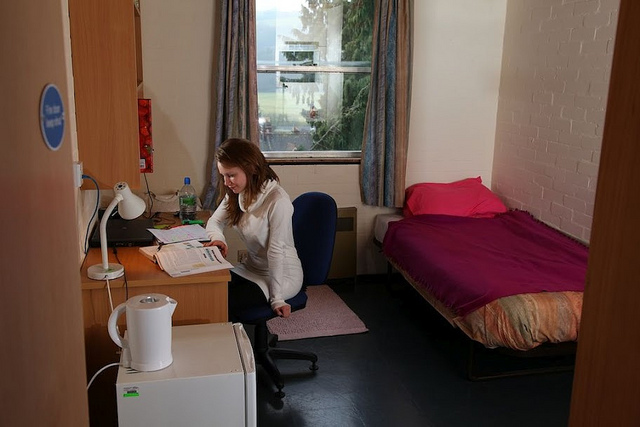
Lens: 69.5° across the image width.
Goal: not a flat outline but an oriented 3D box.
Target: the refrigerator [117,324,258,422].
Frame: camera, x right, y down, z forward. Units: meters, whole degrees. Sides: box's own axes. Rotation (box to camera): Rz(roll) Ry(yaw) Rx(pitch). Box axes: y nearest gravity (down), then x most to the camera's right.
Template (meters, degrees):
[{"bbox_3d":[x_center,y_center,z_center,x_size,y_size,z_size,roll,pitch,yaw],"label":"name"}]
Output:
[{"bbox_3d":[-0.533,0.625,1.920,0.433,0.291,0.435,0,11,-10],"label":"refrigerator"}]

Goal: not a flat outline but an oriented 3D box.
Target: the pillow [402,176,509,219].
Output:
[{"bbox_3d":[1.192,-0.127,4.127,0.503,0.156,0.510,-5,24,-13],"label":"pillow"}]

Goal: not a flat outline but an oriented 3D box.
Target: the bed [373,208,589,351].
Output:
[{"bbox_3d":[1.370,0.363,3.529,1.463,0.410,1.825,-3,17,-10],"label":"bed"}]

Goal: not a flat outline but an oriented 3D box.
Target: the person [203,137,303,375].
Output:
[{"bbox_3d":[-0.424,0.296,2.855,0.709,1.466,0.586,-3,7,-38],"label":"person"}]

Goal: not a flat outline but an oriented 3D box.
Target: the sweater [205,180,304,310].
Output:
[{"bbox_3d":[-0.342,0.172,2.762,0.414,0.700,0.411,-1,17,12],"label":"sweater"}]

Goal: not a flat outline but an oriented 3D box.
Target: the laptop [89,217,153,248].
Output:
[{"bbox_3d":[-1.227,0.119,2.931,0.307,0.062,0.421,3,12,-23],"label":"laptop"}]

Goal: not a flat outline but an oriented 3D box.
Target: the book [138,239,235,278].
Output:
[{"bbox_3d":[-0.742,0.241,2.583,0.382,0.080,0.483,-15,19,-31],"label":"book"}]
